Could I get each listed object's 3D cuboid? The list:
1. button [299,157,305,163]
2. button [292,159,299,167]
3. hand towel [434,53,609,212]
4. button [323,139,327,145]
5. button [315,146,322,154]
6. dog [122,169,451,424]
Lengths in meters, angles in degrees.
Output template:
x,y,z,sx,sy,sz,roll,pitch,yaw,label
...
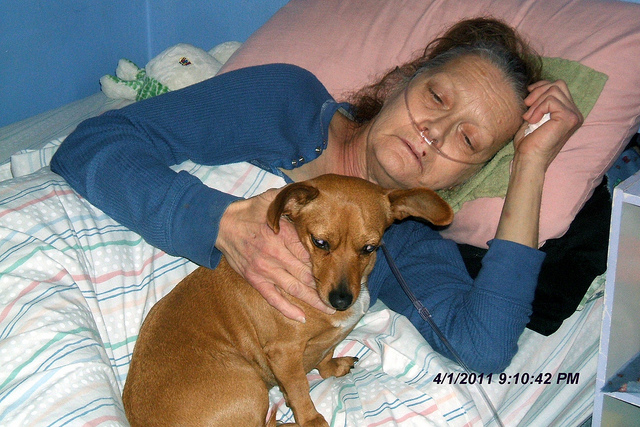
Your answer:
x,y,z,sx,sy,sz,roll,pitch,yaw,label
-0.119,-0.332,3.234,0.033,0.032,0.007,4,-2,-18,button
-0.154,-0.311,3.233,0.040,0.041,0.022,-6,39,-12,button
1.311,-0.411,3.569,0.817,1.190,0.257,25,-5,6,hand towel
0.027,-0.444,3.259,0.026,0.031,0.018,-4,39,-9,button
-0.015,-0.392,3.255,0.027,0.039,0.045,27,44,28,button
-0.156,0.402,3.353,1.860,1.279,1.156,-4,8,-13,dog
